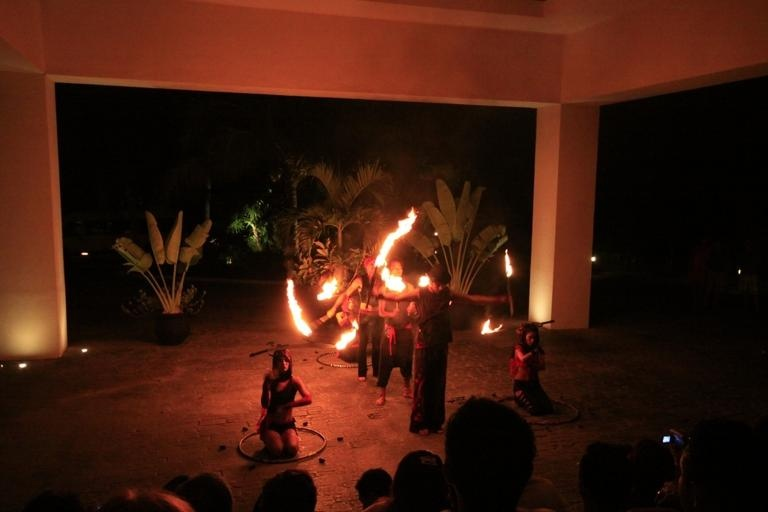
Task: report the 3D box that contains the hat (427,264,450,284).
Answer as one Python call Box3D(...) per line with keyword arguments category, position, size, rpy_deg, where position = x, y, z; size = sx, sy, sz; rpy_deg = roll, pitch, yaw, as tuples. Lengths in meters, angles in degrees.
Box3D(category="hat", position=(0.835, 0.307, 8.759), size=(0.234, 0.283, 0.296), rpy_deg=(3, -13, -15))

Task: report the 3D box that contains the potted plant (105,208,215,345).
Box3D(category="potted plant", position=(-4.695, 0.426, 12.372), size=(2.089, 2.911, 2.381), rpy_deg=(-11, -5, 34))
